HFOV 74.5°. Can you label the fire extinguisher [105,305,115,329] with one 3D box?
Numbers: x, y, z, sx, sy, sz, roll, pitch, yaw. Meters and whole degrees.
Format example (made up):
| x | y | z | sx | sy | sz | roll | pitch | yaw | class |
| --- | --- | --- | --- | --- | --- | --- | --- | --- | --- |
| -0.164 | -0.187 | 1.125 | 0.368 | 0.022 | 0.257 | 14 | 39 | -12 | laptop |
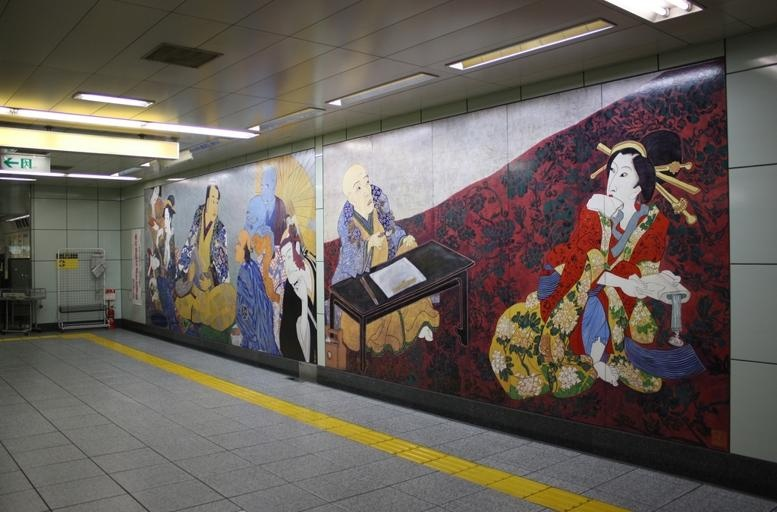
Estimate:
| x | y | z | sx | sy | sz | roll | pitch | yaw | class |
| --- | --- | --- | --- | --- | --- | --- | --- | --- | --- |
| -8.358 | 1.817 | 15.370 | 0.179 | 0.688 | 0.401 | -2 | 3 | -24 | fire extinguisher |
